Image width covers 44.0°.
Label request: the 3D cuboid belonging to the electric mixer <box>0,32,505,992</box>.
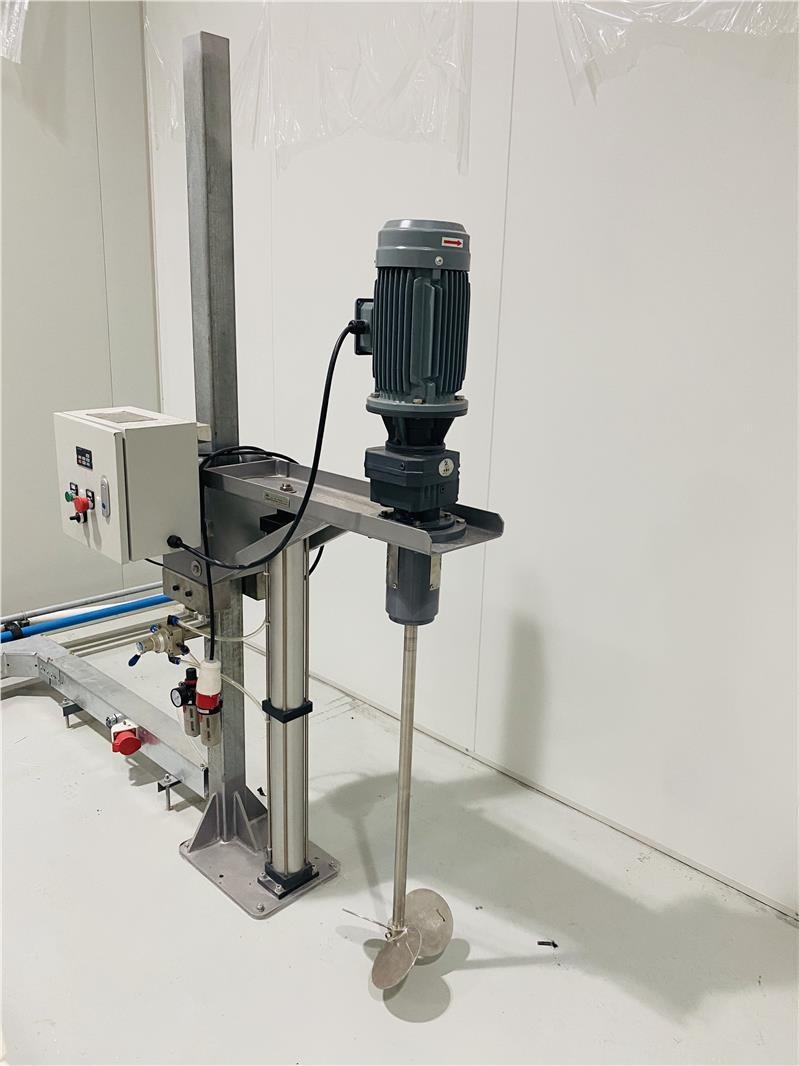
[{"bbox_3d":[-0.362,-0.076,2.018,1.281,1.748,0.497,14,20,38],"label":"electric mixer"}]
